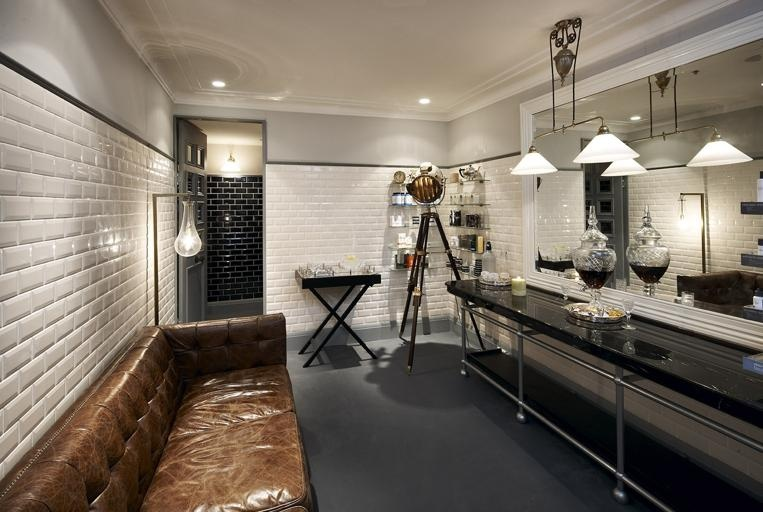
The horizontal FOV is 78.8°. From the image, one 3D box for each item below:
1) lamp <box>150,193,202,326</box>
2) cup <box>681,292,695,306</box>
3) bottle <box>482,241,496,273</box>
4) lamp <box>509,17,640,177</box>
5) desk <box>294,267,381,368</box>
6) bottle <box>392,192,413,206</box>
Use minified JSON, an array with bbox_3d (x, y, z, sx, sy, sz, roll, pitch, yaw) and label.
[{"bbox_3d":[-2.024,-0.007,4.546,0.422,1.301,1.641,-3,6,-25],"label":"lamp"},{"bbox_3d":[2.274,0.318,3.442,0.074,0.087,0.076,2,-3,0],"label":"cup"},{"bbox_3d":[1.180,0.003,5.067,0.163,0.323,0.404,1,5,13],"label":"bottle"},{"bbox_3d":[1.665,-1.372,3.924,0.414,1.187,1.192,0,-3,-27],"label":"lamp"},{"bbox_3d":[-0.447,0.677,5.614,1.064,1.104,0.934,-1,3,-20],"label":"desk"},{"bbox_3d":[0.261,-0.710,5.805,0.277,0.194,0.151,1,-3,-14],"label":"bottle"}]
